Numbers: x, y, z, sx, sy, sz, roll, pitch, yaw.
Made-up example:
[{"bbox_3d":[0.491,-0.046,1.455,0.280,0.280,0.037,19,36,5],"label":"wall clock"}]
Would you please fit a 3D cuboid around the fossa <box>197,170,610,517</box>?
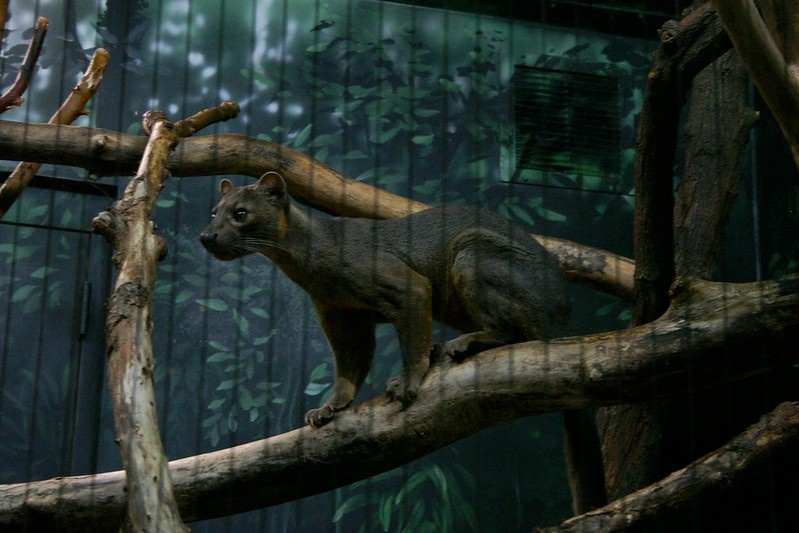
[{"bbox_3d":[0.035,0.148,7.709,2.240,1.021,0.744,8,-19,-32],"label":"fossa"}]
